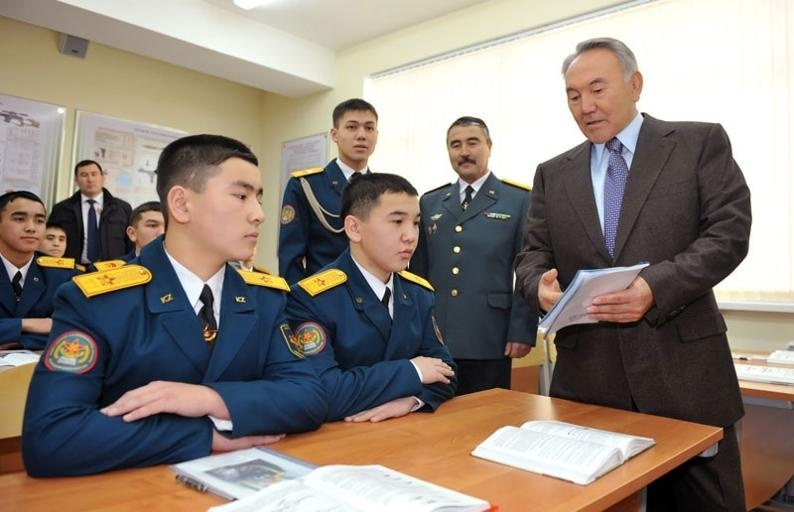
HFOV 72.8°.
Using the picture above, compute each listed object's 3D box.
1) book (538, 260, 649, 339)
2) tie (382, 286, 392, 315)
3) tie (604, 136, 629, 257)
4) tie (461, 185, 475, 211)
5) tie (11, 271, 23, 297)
[{"bbox_3d":[0.696,0.157,1.881,0.388,0.092,0.358,-8,-26,-18],"label":"book"},{"bbox_3d":[-0.043,0.170,2.146,0.024,0.101,0.028,3,-34,4],"label":"tie"},{"bbox_3d":[0.835,-0.242,2.090,0.088,0.488,0.057,-7,-20,19],"label":"tie"},{"bbox_3d":[0.384,-0.314,2.927,0.044,0.162,0.048,2,-38,19],"label":"tie"},{"bbox_3d":[-2.322,0.166,3.289,0.039,0.167,0.047,8,-18,-40],"label":"tie"}]
